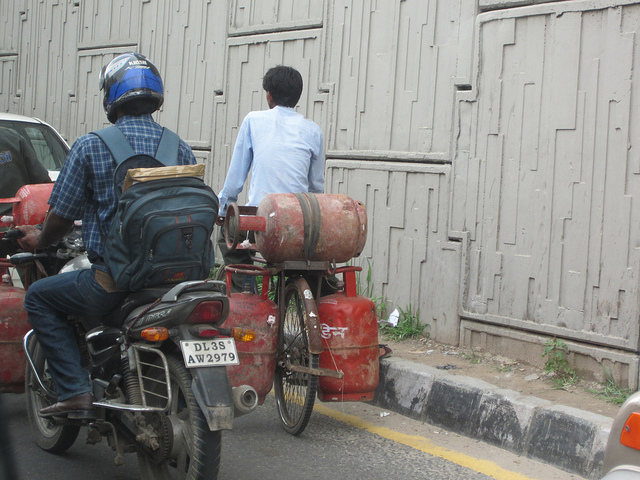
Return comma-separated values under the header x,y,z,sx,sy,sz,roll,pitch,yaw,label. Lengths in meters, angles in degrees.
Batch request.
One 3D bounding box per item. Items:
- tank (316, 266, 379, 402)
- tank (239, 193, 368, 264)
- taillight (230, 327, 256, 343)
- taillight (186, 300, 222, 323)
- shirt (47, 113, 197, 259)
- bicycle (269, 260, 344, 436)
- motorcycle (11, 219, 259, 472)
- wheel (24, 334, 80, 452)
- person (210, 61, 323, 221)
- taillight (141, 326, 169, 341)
x,y,z,sx,sy,sz,roll,pitch,yaw,label
0.223,0.709,5.635,0.481,1.011,0.280,3,0,-7,tank
-0.128,-0.108,5.582,0.967,0.608,0.522,2,13,-21,tank
-0.505,0.582,4.769,0.096,0.068,0.136,14,-10,-34,taillight
-0.686,0.414,4.410,0.110,0.096,0.021,-8,28,-29,taillight
-1.256,-0.424,4.768,0.674,1.127,0.718,19,21,40,shirt
-0.120,0.797,5.644,0.461,1.316,0.595,3,0,-29,bicycle
-1.121,0.658,5.031,1.081,1.484,1.856,1,4,-45,motorcycle
-1.750,0.981,4.922,0.163,0.763,0.566,-7,20,-38,wheel
-0.373,-0.815,6.123,0.833,1.250,0.326,4,0,1,person
-0.973,0.546,4.416,0.173,0.083,0.060,5,0,18,taillight
